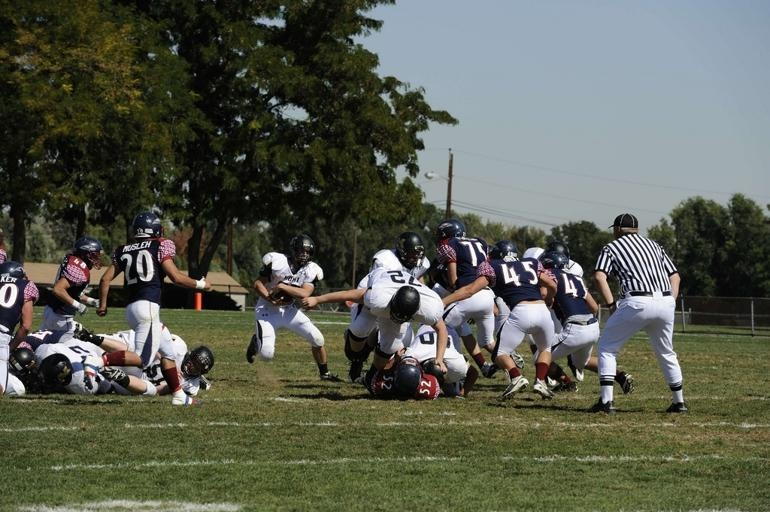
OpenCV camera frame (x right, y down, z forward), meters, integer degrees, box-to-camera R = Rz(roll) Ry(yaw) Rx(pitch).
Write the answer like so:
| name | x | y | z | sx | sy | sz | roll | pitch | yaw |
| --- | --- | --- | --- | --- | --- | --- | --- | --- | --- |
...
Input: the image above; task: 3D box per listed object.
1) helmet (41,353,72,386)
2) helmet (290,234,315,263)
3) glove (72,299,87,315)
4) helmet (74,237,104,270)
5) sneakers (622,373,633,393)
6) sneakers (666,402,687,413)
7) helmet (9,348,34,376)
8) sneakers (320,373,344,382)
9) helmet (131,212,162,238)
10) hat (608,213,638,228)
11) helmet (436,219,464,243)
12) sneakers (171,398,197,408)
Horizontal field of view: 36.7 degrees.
| name | x | y | z | sx | sy | sz | roll | pitch | yaw |
| --- | --- | --- | --- | --- | --- | --- | --- | --- | --- |
| helmet | -6.526 | 2.270 | 23.141 | 0.635 | 0.343 | 0.475 | 20 | -21 | -27 |
| helmet | -1.775 | -0.153 | 25.011 | 0.460 | 0.504 | 0.592 | 3 | 16 | -21 |
| glove | -6.211 | 1.055 | 23.693 | 0.277 | 0.279 | 0.234 | 4 | -8 | -16 |
| helmet | -6.128 | -0.045 | 24.115 | 0.631 | 0.607 | 0.493 | 4 | 7 | -26 |
| sneakers | 5.016 | 2.647 | 24.028 | 0.166 | 0.480 | 0.209 | -8 | 18 | -18 |
| sneakers | 5.828 | 3.051 | 23.143 | 0.183 | 0.215 | 0.451 | 1 | -1 | -40 |
| helmet | -7.198 | 2.115 | 23.334 | 0.516 | 0.444 | 0.502 | -16 | -13 | -37 |
| sneakers | -1.144 | 2.658 | 25.128 | 0.531 | 0.243 | 0.187 | 1 | 7 | 2 |
| helmet | -4.682 | -0.605 | 23.242 | 0.426 | 0.487 | 0.575 | 9 | 13 | 31 |
| hat | 4.759 | -0.714 | 23.058 | 0.442 | 0.259 | 0.619 | 0 | -8 | 11 |
| helmet | 1.445 | -0.527 | 25.366 | 0.528 | 0.532 | 0.417 | 5 | -2 | 12 |
| sneakers | -3.942 | 2.946 | 22.972 | 0.476 | 0.215 | 0.174 | -6 | -5 | -4 |
